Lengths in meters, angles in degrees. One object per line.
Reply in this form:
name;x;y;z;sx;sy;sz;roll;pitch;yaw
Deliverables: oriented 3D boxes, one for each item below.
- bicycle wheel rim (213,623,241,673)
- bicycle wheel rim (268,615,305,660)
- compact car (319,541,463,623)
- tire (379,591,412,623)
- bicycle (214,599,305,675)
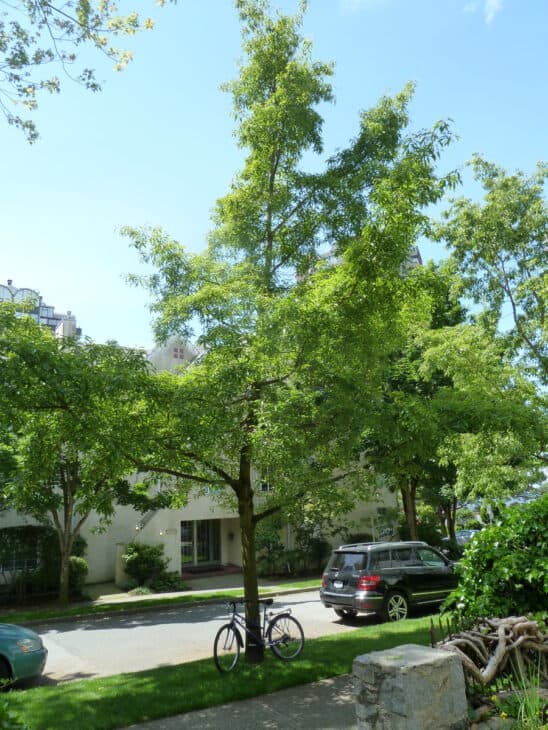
bicycle wheel rim;-0.616;3.697;9.154;0.307;0.562;0.729;-6;-13;12
bicycle wheel rim;0.160;3.820;9.786;0.357;0.746;0.831;-6;-19;22
compact car;2.533;4.309;14.200;3.040;1.374;1.620;5;-15;-32
tire;2.262;4.536;13.095;0.610;0.570;0.234;26;-31;-33
bicycle;-0.246;3.658;9.573;1.552;0.869;0.702;4;-16;-36
